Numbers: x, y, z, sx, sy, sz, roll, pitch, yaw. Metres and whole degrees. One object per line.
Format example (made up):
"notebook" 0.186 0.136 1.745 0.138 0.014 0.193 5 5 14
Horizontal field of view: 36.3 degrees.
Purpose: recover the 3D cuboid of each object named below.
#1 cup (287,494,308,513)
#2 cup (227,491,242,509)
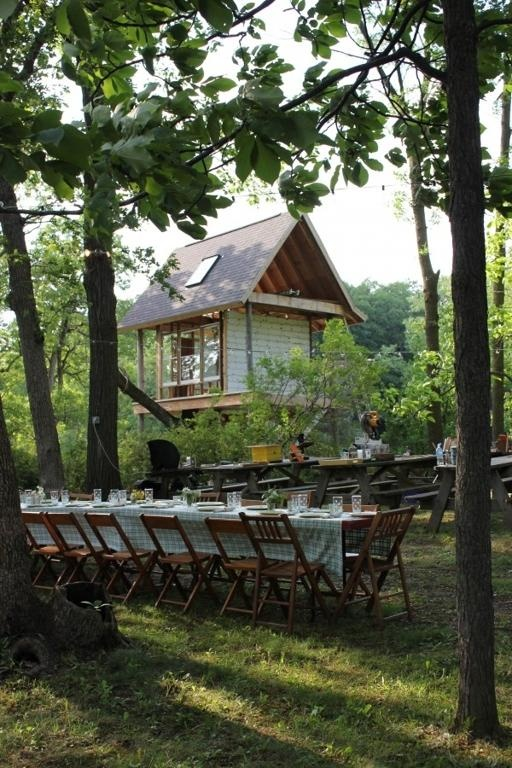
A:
"cup" 0.366 1.085 7.120 0.181 0.160 0.119 -5 -9 41
"cup" -0.235 1.142 7.686 0.157 0.153 0.155 1 3 0
